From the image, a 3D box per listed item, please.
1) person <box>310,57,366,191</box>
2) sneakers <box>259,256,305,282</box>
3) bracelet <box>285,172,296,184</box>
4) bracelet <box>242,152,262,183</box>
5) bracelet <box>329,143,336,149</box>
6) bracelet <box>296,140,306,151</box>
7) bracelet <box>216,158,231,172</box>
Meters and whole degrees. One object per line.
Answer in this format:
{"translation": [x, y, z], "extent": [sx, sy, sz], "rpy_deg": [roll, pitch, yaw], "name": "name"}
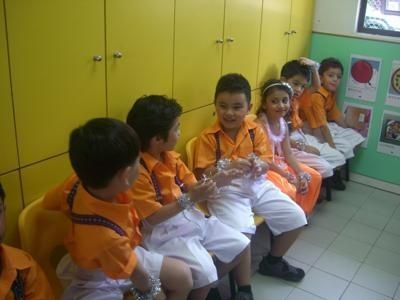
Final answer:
{"translation": [1.444, -0.303, 3.333], "extent": [0.425, 1.331, 0.722], "rpy_deg": [-10, 25, -24], "name": "person"}
{"translation": [0.586, 0.862, 2.270], "extent": [0.345, 0.164, 0.151], "rpy_deg": [6, 25, 16], "name": "sneakers"}
{"translation": [0.732, 0.228, 2.448], "extent": [0.059, 0.091, 0.024], "rpy_deg": [-18, -8, -20], "name": "bracelet"}
{"translation": [0.365, 0.119, 2.105], "extent": [0.132, 0.181, 0.056], "rpy_deg": [10, 5, -26], "name": "bracelet"}
{"translation": [1.378, -0.052, 3.164], "extent": [0.044, 0.052, 0.053], "rpy_deg": [7, 33, 20], "name": "bracelet"}
{"translation": [0.955, -0.051, 2.911], "extent": [0.071, 0.034, 0.091], "rpy_deg": [-33, 55, -33], "name": "bracelet"}
{"translation": [0.167, 0.094, 2.084], "extent": [0.106, 0.064, 0.048], "rpy_deg": [-40, 22, -25], "name": "bracelet"}
